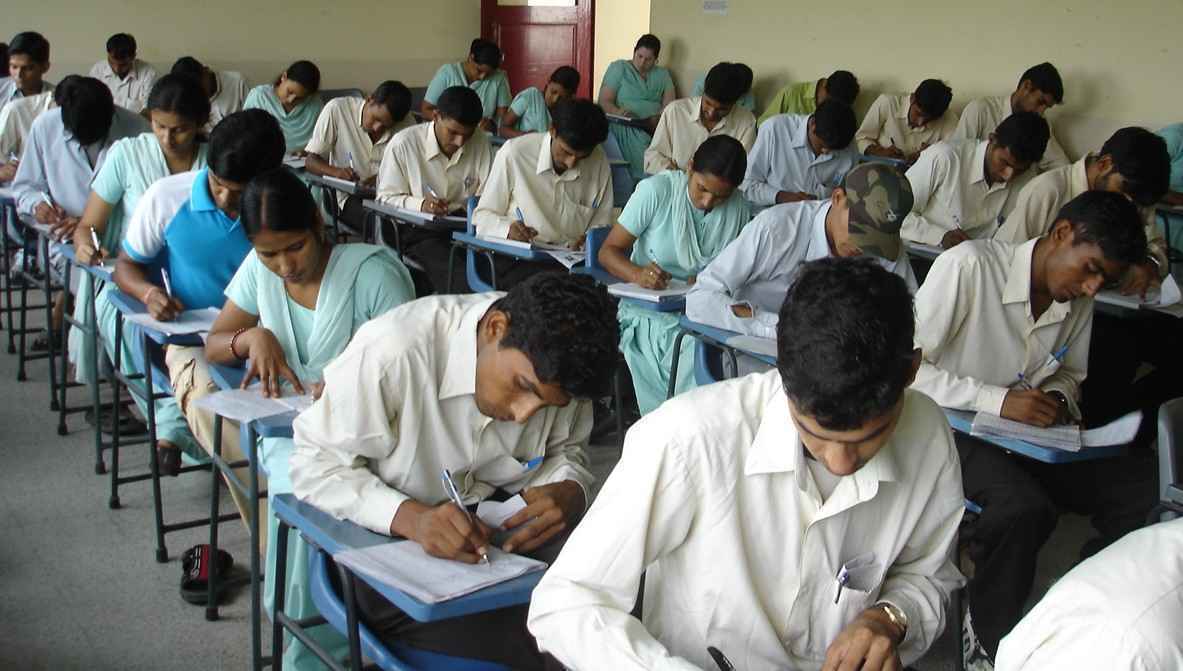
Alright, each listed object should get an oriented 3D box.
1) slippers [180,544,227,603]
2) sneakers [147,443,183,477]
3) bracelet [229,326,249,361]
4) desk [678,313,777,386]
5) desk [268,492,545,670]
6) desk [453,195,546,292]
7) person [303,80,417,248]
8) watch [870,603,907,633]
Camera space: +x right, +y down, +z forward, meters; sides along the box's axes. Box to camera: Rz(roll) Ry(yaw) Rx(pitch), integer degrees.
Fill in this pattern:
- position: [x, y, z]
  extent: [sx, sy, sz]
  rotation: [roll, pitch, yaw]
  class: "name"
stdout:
- position: [-1.801, 1.101, 4.187]
  extent: [0.206, 0.107, 0.302]
  rotation: [14, 30, -18]
  class: "slippers"
- position: [-2.166, 0.634, 4.591]
  extent: [0.118, 0.134, 0.154]
  rotation: [-24, 48, 29]
  class: "sneakers"
- position: [-1.529, 0.052, 3.913]
  extent: [0.029, 0.108, 0.110]
  rotation: [3, 7, 9]
  class: "bracelet"
- position: [0.650, 0.079, 4.307]
  extent: [0.369, 0.346, 0.351]
  rotation: [-6, 12, -38]
  class: "desk"
- position: [-0.744, 1.071, 3.361]
  extent: [0.860, 0.436, 0.587]
  rotation: [27, 30, 26]
  class: "desk"
- position: [-0.532, -0.578, 5.712]
  extent: [0.591, 0.611, 0.535]
  rotation: [14, 20, 40]
  class: "desk"
- position: [-1.778, -1.474, 7.196]
  extent: [0.992, 1.026, 0.773]
  rotation: [31, 28, 32]
  class: "person"
- position: [0.988, 0.930, 3.008]
  extent: [0.092, 0.038, 0.098]
  rotation: [47, 31, 14]
  class: "watch"
